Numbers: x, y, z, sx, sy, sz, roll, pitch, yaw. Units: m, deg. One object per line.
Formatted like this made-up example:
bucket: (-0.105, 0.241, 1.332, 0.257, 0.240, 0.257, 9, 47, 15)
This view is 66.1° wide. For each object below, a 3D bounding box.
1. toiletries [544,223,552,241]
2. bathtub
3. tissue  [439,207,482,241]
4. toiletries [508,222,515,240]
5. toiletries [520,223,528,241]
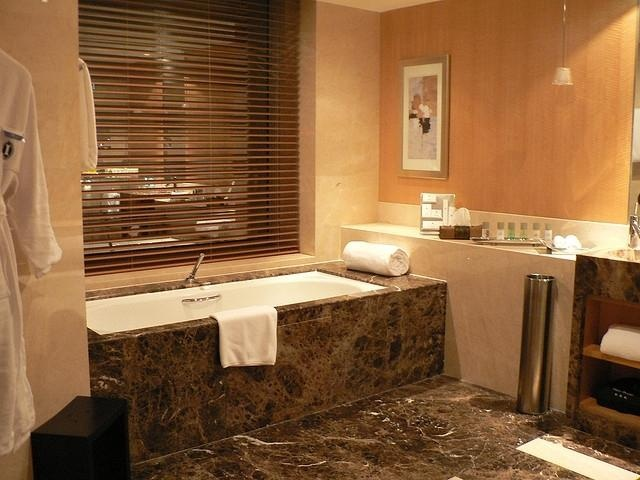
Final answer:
toiletries: (1.542, -0.056, 3.328, 0.052, 0.116, 0.102, 2, 5, 25)
bathtub: (-0.298, 0.670, 3.259, 2.363, 0.796, 0.871, -3, 6, -35)
tissue : (1.033, -0.111, 3.620, 0.255, 0.204, 0.098, 2, 4, 20)
toiletries: (1.317, -0.061, 3.393, 0.040, 0.108, 0.104, 2, 5, 22)
toiletries: (1.404, -0.062, 3.399, 0.051, 0.109, 0.120, 2, 5, 22)
